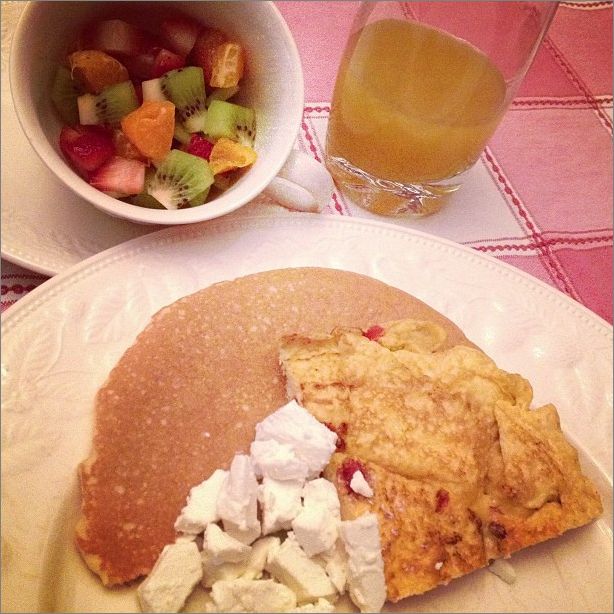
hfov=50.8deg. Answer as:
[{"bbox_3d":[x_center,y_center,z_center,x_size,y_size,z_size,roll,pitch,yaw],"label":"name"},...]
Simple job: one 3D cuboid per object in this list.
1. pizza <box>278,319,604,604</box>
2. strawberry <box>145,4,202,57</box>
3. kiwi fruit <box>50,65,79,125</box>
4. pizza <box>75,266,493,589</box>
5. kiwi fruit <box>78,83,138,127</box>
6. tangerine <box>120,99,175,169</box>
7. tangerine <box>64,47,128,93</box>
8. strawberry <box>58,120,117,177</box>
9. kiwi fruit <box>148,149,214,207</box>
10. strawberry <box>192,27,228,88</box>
[{"bbox_3d":[0.239,0.259,1.143,0.478,0.132,0.489,-16,78,-10],"label":"pizza"},{"bbox_3d":[-0.266,-0.561,1.306,0.111,0.091,0.082,-13,33,-8],"label":"strawberry"},{"bbox_3d":[-0.447,-0.392,1.199,0.034,0.082,0.068,-1,55,6],"label":"kiwi fruit"},{"bbox_3d":[-0.066,0.105,1.125,0.618,0.032,0.510,-9,69,-20],"label":"pizza"},{"bbox_3d":[-0.379,-0.369,1.230,0.118,0.084,0.032,-21,14,-17],"label":"kiwi fruit"},{"bbox_3d":[-0.318,-0.356,1.295,0.159,0.098,0.087,-16,39,-33],"label":"tangerine"},{"bbox_3d":[-0.408,-0.474,1.271,0.133,0.071,0.092,-19,39,-22],"label":"tangerine"},{"bbox_3d":[-0.402,-0.298,1.195,0.099,0.067,0.090,-25,56,-12],"label":"strawberry"},{"bbox_3d":[-0.235,-0.235,1.216,0.117,0.074,0.089,-41,61,-21],"label":"kiwi fruit"},{"bbox_3d":[-0.205,-0.518,1.339,0.050,0.097,0.093,7,7,39],"label":"strawberry"}]
